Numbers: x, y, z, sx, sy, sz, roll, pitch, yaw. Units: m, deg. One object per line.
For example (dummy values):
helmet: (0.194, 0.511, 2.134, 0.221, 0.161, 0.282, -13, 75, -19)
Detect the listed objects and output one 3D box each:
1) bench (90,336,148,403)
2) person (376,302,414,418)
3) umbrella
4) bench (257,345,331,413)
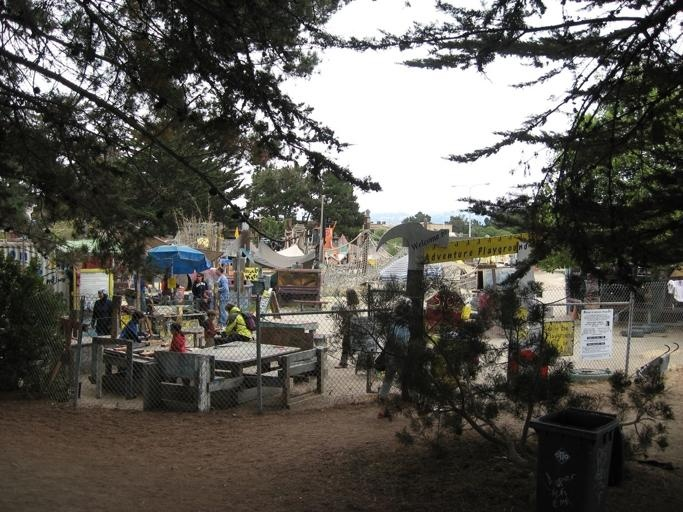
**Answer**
bench: (-4.782, 2.339, 14.969, 1.201, 1.069, 1.016, 5, 3, 25)
person: (0.749, 1.347, 9.465, 0.413, 1.546, 0.461, 9, 14, 12)
umbrella: (-5.176, 0.110, 21.407, 1.514, 0.628, 1.661, -3, -12, 20)
bench: (-1.028, 2.479, 14.073, 1.087, 0.801, 1.153, 0, 3, 33)
